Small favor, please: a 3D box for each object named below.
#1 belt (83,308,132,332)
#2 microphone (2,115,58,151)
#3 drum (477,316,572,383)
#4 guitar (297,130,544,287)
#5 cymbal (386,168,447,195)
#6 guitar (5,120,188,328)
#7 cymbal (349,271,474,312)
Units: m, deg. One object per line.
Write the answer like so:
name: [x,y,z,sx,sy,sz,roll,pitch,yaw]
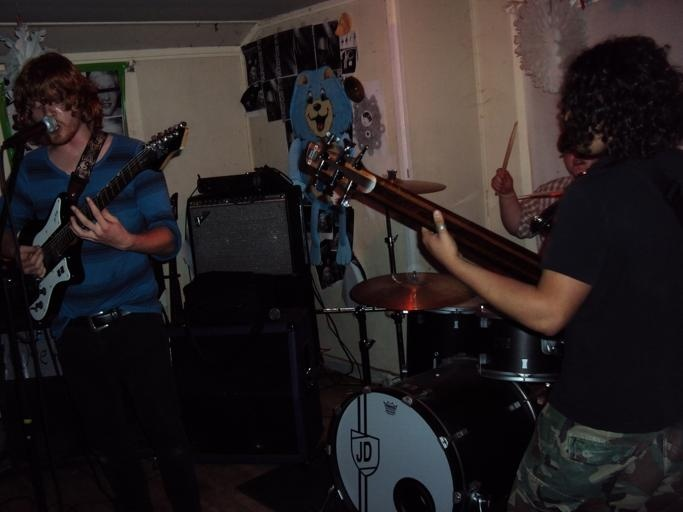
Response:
belt: [-0.853,0.231,2.084,0.100,0.032,0.074,-23,22,4]
microphone: [-1.036,-0.405,1.904,0.102,0.101,0.202,-2,9,14]
drum: [0.710,0.371,2.255,0.259,0.203,0.258,17,-17,5]
guitar: [0.428,-0.260,2.770,1.416,0.295,0.226,32,-11,-3]
cymbal: [0.375,-0.372,2.859,0.330,0.091,0.249,11,14,38]
guitar: [-0.880,-0.116,2.139,0.671,0.686,0.180,-6,8,-8]
cymbal: [0.323,0.140,2.596,0.546,0.071,0.562,-5,12,-15]
